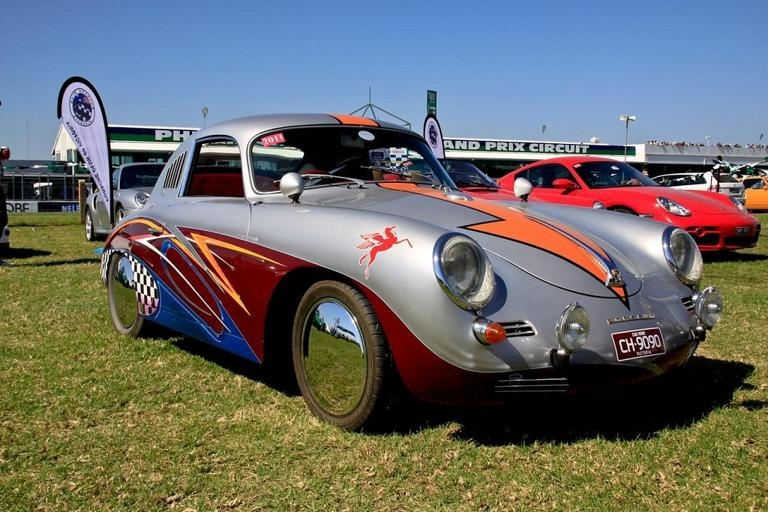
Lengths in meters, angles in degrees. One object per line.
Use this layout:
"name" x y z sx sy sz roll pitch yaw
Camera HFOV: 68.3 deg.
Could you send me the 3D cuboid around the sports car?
"sports car" 0.010 -0.069 3.993 4.004 1.859 1.788 8 15 34
